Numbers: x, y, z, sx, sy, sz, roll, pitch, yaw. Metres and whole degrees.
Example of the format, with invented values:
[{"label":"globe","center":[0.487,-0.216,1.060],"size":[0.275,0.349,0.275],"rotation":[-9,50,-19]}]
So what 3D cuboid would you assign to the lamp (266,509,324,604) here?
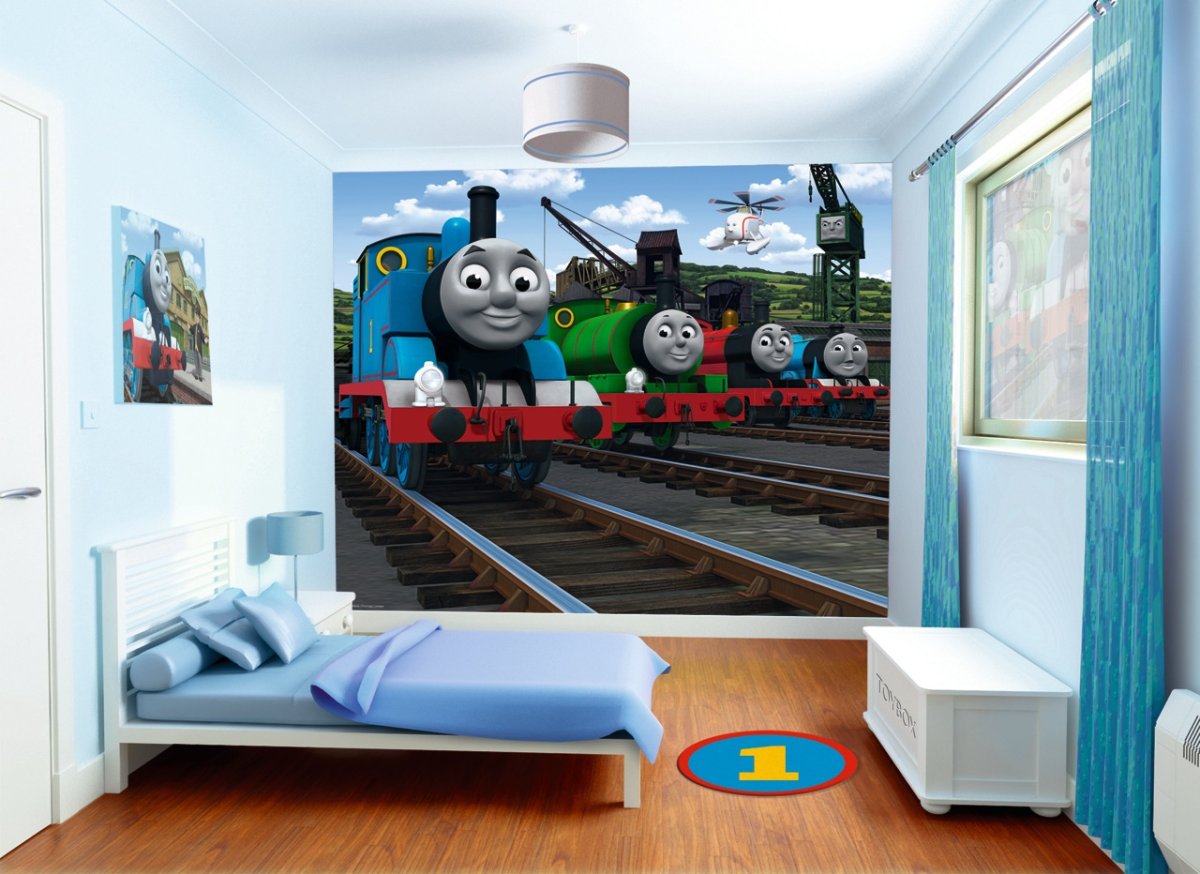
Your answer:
[{"label":"lamp","center":[-1.813,0.717,4.289],"size":[0.328,0.521,0.328],"rotation":[1,2,-6]}]

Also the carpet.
[{"label":"carpet","center":[0.771,1.495,3.340],"size":[0.825,0.014,0.528],"rotation":[0,6,0]}]

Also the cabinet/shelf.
[{"label":"cabinet/shelf","center":[1.603,1.215,3.216],"size":[0.606,0.564,0.780],"rotation":[0,6,4]}]

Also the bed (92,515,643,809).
[{"label":"bed","center":[-1.338,0.922,3.365],"size":[1.545,0.762,1.414],"rotation":[0,2,-1]}]

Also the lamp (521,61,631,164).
[{"label":"lamp","center":[-0.139,-1.761,3.785],"size":[0.596,0.354,0.593],"rotation":[-8,46,-10]}]
